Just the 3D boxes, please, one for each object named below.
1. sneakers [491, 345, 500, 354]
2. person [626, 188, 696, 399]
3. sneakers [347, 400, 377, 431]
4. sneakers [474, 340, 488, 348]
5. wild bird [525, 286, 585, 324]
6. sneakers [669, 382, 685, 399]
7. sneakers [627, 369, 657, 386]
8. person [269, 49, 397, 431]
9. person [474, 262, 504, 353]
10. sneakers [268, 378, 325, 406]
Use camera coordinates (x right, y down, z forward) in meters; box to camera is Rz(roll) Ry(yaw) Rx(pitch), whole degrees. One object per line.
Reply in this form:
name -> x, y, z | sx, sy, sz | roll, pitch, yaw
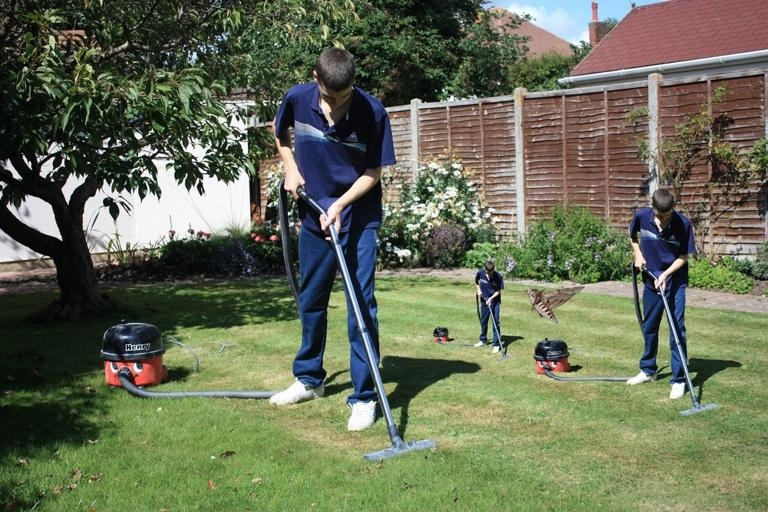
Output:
sneakers -> 1.288, 1.078, 7.442 | 0.082, 0.062, 0.151 | -1, -3, 9
person -> 2.741, 0.314, 6.400 | 0.636, 1.909, 0.893 | 5, 13, 19
sneakers -> -0.204, 1.364, 5.528 | 0.239, 0.193, 0.184 | -1, 12, -8
sneakers -> 1.152, 1.050, 7.738 | 0.137, 0.056, 0.065 | -1, 1, -18
wild bird -> 1.947, 0.540, 7.500 | 0.520, 0.469, 0.398 | 2, 12, 9
sneakers -> 2.802, 1.270, 6.144 | 0.098, 0.082, 0.200 | -16, 21, 43
sneakers -> 2.574, 1.220, 6.503 | 0.325, 0.132, 0.119 | -2, 0, -10
person -> -0.463, -0.183, 5.652 | 1.135, 3.166, 0.737 | 8, 15, 30
person -> 1.273, 0.541, 7.848 | 0.339, 1.055, 1.135 | 2, 12, 8
sneakers -> -0.819, 1.269, 6.046 | 0.537, 0.246, 0.202 | -1, -2, -14
